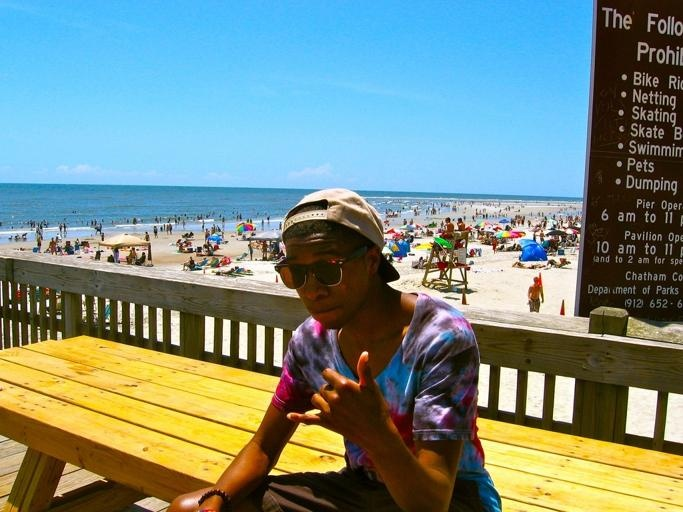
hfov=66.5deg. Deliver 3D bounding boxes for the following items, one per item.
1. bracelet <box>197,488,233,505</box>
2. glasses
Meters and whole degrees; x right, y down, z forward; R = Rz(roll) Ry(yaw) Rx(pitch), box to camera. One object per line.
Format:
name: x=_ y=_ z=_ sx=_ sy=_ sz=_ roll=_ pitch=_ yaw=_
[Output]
bracelet: x=-0.435 y=0.817 z=1.784 sx=0.065 sy=0.026 sz=0.074 roll=2 pitch=3 yaw=22
glasses: x=-0.081 y=0.050 z=1.722 sx=0.215 sy=0.062 sz=0.199 roll=-5 pitch=16 yaw=32
